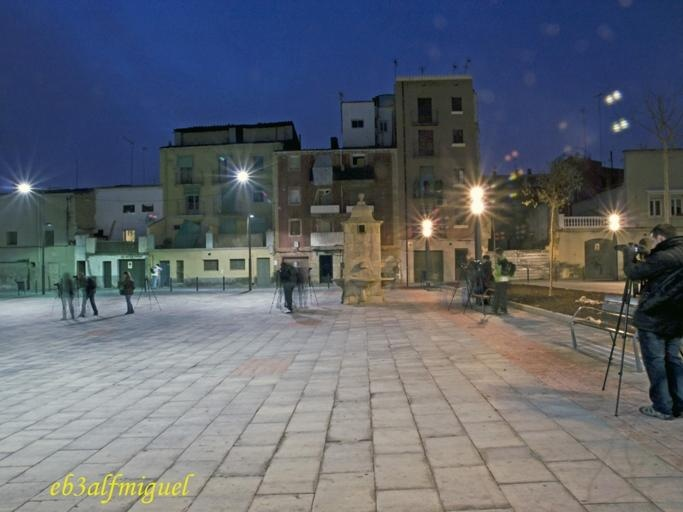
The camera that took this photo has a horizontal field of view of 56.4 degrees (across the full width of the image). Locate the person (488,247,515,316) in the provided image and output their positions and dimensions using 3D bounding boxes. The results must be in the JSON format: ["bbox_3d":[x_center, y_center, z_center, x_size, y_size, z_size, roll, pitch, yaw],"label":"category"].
[{"bbox_3d":[4.620,0.807,18.267,0.564,1.924,1.588,0,7,12],"label":"person"}]

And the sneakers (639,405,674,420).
[{"bbox_3d":[4.355,2.154,8.841,0.137,0.179,0.372,0,6,-38],"label":"sneakers"}]

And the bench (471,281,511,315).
[{"bbox_3d":[4.475,1.256,19.219,0.552,0.964,1.491,-4,-4,9],"label":"bench"}]

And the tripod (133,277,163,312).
[{"bbox_3d":[-9.829,1.975,32.398,0.937,1.362,0.875,-2,-8,-3],"label":"tripod"}]

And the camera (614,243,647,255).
[{"bbox_3d":[4.159,-0.099,9.146,0.281,0.133,0.305,0,3,22],"label":"camera"}]
